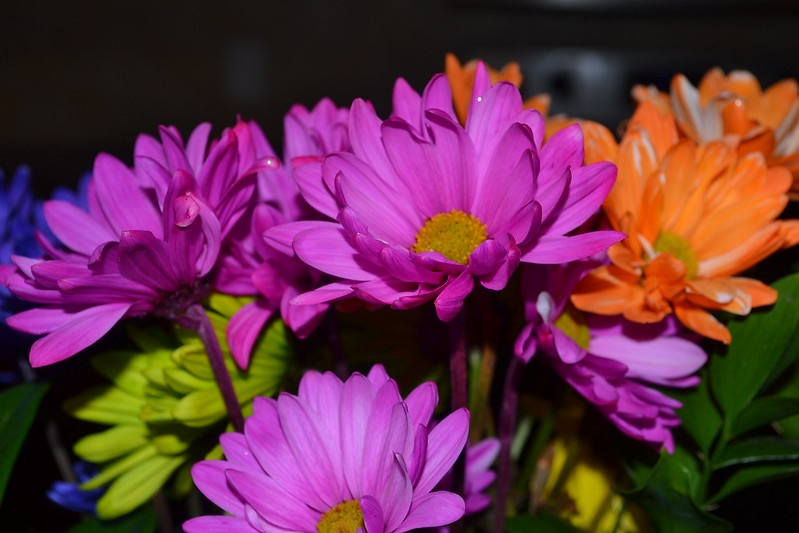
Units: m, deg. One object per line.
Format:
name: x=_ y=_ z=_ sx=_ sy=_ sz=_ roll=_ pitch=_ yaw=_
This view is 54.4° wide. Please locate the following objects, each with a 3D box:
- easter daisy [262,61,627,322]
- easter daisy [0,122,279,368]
easter daisy: x=0.044 y=-0.070 z=0.751 sx=0.234 sy=0.307 sz=0.116 roll=-7 pitch=-22 yaw=23
easter daisy: x=-0.249 y=-0.012 z=0.762 sx=0.226 sy=0.270 sz=0.108 roll=-29 pitch=-30 yaw=26
